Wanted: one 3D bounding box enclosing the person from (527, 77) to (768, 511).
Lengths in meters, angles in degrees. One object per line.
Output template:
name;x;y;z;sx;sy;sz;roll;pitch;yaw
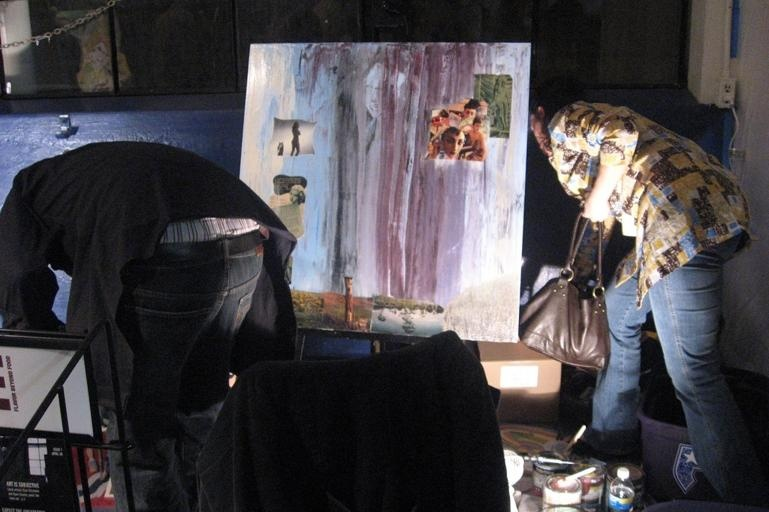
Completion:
person;1.147;0.163;2.863;0.467;1.656;0.914;-2;5;-40

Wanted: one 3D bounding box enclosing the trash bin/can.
trash bin/can;1.364;0.756;2.906;0.424;0.406;0.596;-1;4;13

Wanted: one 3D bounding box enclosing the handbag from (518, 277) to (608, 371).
handbag;0.833;0.321;3.092;0.341;0.372;0.178;14;8;-1

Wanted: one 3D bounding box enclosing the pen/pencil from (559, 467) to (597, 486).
pen/pencil;0.786;0.889;2.709;0.123;0.028;0.024;-20;-5;-9
